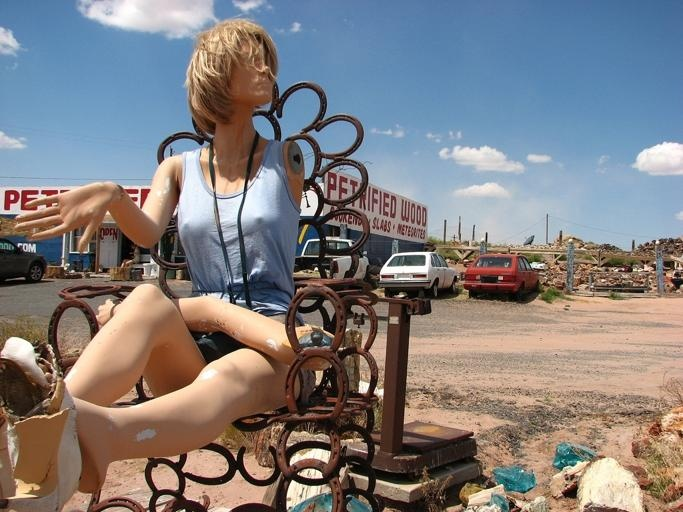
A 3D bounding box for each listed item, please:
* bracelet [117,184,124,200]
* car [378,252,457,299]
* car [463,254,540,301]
[{"bbox_3d":[-0.789,-0.227,1.714,0.031,0.054,0.118,4,0,-25],"label":"bracelet"},{"bbox_3d":[2.735,0.613,16.262,1.191,1.023,2.982,-1,4,24],"label":"car"},{"bbox_3d":[5.851,0.720,17.343,1.361,1.048,2.780,0,4,27],"label":"car"}]
